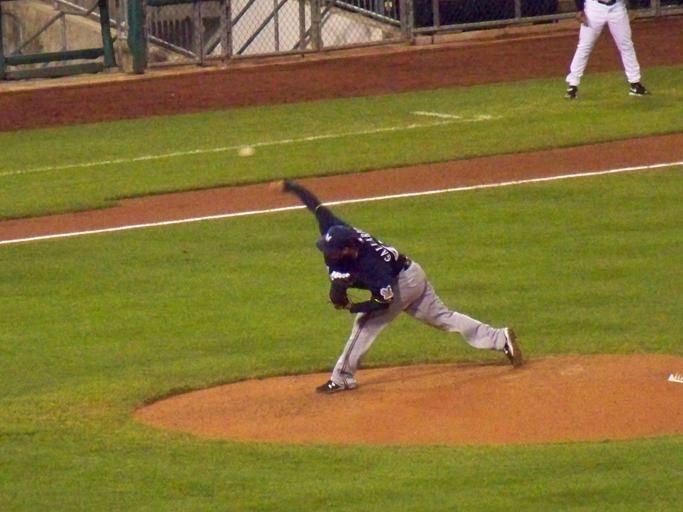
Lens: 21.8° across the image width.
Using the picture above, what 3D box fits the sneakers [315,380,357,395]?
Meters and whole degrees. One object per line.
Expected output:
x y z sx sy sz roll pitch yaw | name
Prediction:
-0.038 1.706 23.292 0.522 0.222 0.192 1 3 -5 | sneakers

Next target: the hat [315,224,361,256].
-0.011 -0.207 22.816 0.461 0.357 0.424 -2 11 -17 | hat

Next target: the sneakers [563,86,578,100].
4.007 -2.847 30.865 0.213 0.251 0.221 16 23 7 | sneakers

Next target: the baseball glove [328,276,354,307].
-0.009 0.465 22.768 0.217 0.372 0.152 -4 -12 -15 | baseball glove

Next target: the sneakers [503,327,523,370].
2.273 1.215 23.551 0.234 0.656 0.204 14 46 25 | sneakers

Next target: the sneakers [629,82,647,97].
5.087 -2.881 30.573 0.401 0.268 0.150 0 53 1 | sneakers
